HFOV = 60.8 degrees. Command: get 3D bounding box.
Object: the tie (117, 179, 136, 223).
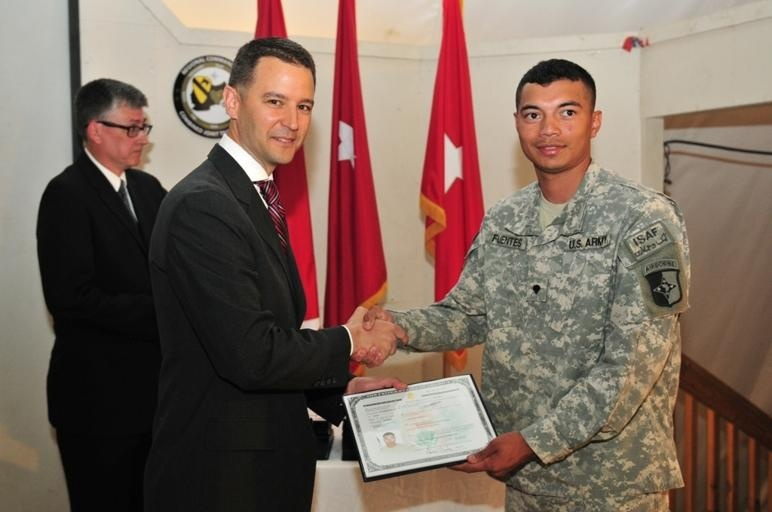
[{"bbox_3d":[-1.481,-0.339,3.793,0.056,0.047,0.407,-7,56,-15],"label":"tie"}]
